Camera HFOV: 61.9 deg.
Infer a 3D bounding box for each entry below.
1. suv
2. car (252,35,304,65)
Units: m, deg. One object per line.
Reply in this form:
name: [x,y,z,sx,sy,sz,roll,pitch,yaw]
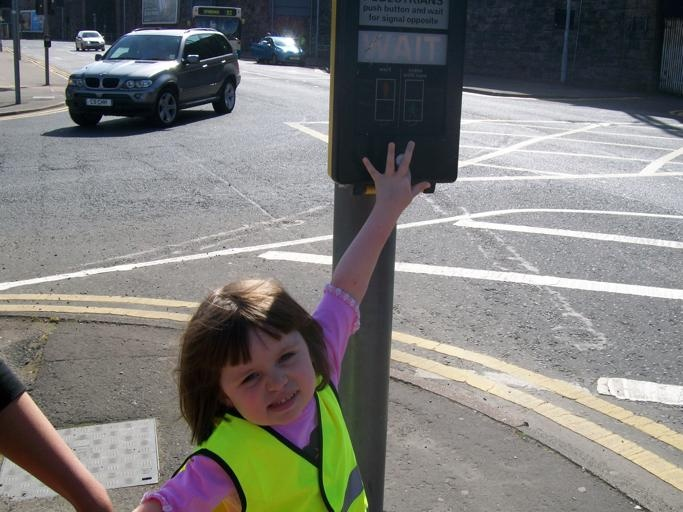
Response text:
suv: [-4.639,-4.451,14.114,1.954,2.318,4.037,10,19,24]
car: [-4.239,-13.600,38.091,3.346,1.706,1.544,17,22,39]
